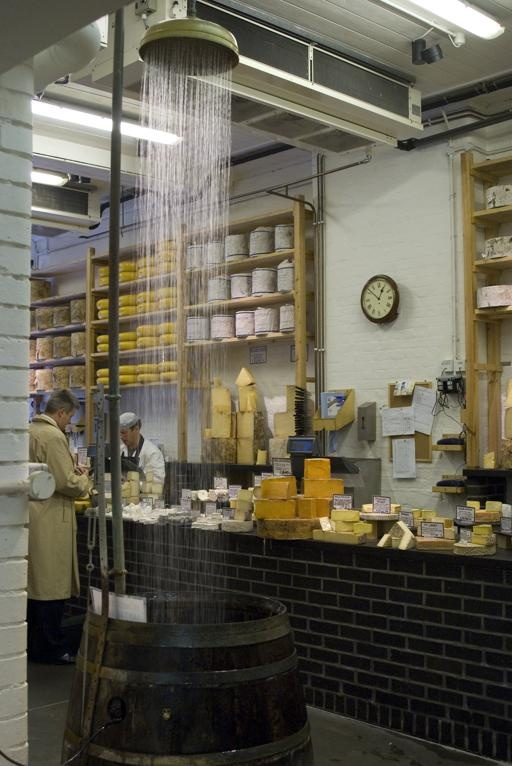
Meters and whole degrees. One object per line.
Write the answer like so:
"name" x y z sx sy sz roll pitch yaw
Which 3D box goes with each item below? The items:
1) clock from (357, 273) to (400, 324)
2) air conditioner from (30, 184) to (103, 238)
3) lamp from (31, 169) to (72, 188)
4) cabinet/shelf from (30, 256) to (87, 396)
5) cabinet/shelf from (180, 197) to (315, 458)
"clock" 0.935 -0.648 4.882 0.058 0.439 0.371 7 -9 -39
"air conditioner" -1.859 -1.722 6.306 0.633 0.426 0.880 -1 0 -19
"lamp" -1.827 -1.829 5.755 0.309 0.078 0.503 -1 0 -18
"cabinet/shelf" -2.459 -0.675 7.959 0.570 1.577 1.696 -1 0 -22
"cabinet/shelf" -0.071 -0.424 5.500 0.901 2.059 1.156 -1 0 -37
